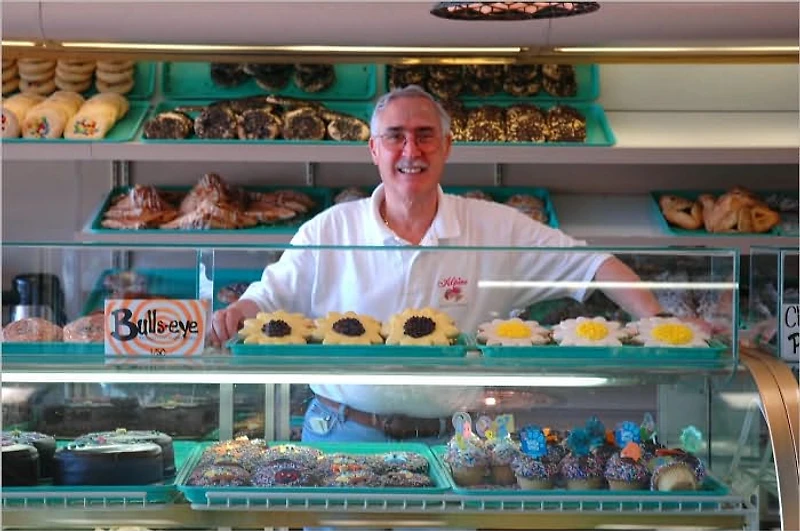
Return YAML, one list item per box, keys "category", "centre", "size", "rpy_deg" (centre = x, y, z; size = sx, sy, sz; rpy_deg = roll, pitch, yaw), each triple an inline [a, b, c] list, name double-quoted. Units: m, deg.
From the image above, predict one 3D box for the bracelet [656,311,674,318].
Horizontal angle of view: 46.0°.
- category: "bracelet"
  centre: [0.863, 0.164, 3.076]
  size: [0.035, 0.011, 0.026]
  rpy_deg: [6, -12, -35]

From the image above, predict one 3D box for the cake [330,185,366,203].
- category: "cake"
  centre: [-0.267, -0.383, 4.900]
  size: [0.124, 0.052, 0.144]
  rpy_deg: [-4, 5, 2]

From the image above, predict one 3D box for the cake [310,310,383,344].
- category: "cake"
  centre: [-0.179, 0.211, 3.107]
  size: [0.234, 0.091, 0.120]
  rpy_deg: [0, 7, -4]

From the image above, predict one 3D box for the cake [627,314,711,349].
- category: "cake"
  centre: [0.884, 0.224, 3.076]
  size: [0.153, 0.048, 0.153]
  rpy_deg: [9, 11, 33]

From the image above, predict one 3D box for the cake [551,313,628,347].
- category: "cake"
  centre: [0.619, 0.222, 3.084]
  size: [0.139, 0.043, 0.135]
  rpy_deg: [16, 33, 28]

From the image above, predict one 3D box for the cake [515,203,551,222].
- category: "cake"
  centre: [0.680, -0.272, 4.812]
  size: [0.114, 0.058, 0.140]
  rpy_deg: [10, 13, 27]

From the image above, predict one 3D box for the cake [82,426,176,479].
- category: "cake"
  centre: [-0.900, 0.609, 3.127]
  size: [0.211, 0.082, 0.198]
  rpy_deg: [3, -2, -31]

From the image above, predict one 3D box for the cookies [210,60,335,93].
- category: "cookies"
  centre: [-0.648, -0.991, 4.834]
  size: [0.488, 0.180, 0.049]
  rpy_deg: [5, -16, 2]

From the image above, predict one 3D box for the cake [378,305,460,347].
- category: "cake"
  centre: [0.063, 0.213, 3.092]
  size: [0.247, 0.095, 0.074]
  rpy_deg: [1, 7, -2]

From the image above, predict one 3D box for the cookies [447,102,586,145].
- category: "cookies"
  centre: [0.568, -0.723, 4.725]
  size: [0.513, 0.106, 0.288]
  rpy_deg: [-1, 41, -1]

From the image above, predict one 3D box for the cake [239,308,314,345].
- category: "cake"
  centre: [-0.404, 0.210, 3.095]
  size: [0.151, 0.027, 0.140]
  rpy_deg: [-11, 20, -41]
